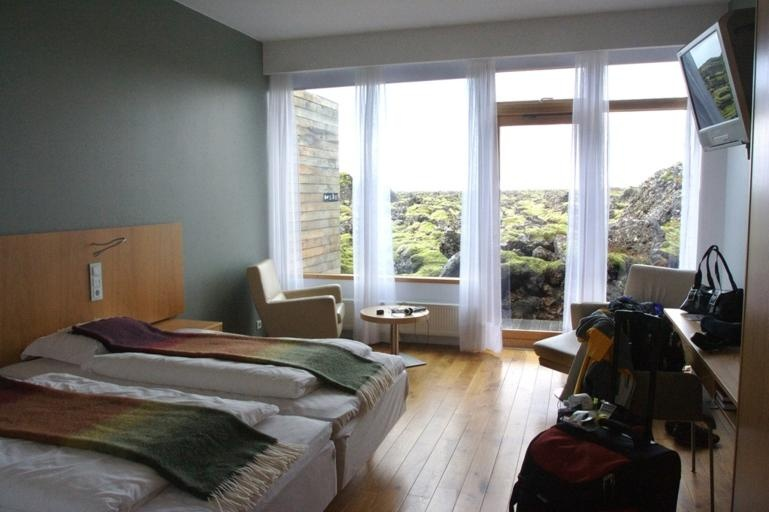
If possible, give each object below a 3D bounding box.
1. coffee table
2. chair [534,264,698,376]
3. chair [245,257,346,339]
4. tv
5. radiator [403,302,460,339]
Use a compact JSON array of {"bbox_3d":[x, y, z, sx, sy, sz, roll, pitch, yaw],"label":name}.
[{"bbox_3d":[0.121,0.838,5.326,0.634,0.462,0.627,4,2,18],"label":"coffee table"},{"bbox_3d":[2.115,0.556,4.842,1.417,1.331,0.993,4,-4,2],"label":"chair"},{"bbox_3d":[-0.949,0.444,5.743,1.062,1.004,0.769,-4,5,2],"label":"chair"},{"bbox_3d":[2.578,-1.320,3.804,0.435,0.984,0.773,2,13,16],"label":"tv"},{"bbox_3d":[0.538,0.764,5.993,0.738,0.413,0.090,1,8,12],"label":"radiator"}]
